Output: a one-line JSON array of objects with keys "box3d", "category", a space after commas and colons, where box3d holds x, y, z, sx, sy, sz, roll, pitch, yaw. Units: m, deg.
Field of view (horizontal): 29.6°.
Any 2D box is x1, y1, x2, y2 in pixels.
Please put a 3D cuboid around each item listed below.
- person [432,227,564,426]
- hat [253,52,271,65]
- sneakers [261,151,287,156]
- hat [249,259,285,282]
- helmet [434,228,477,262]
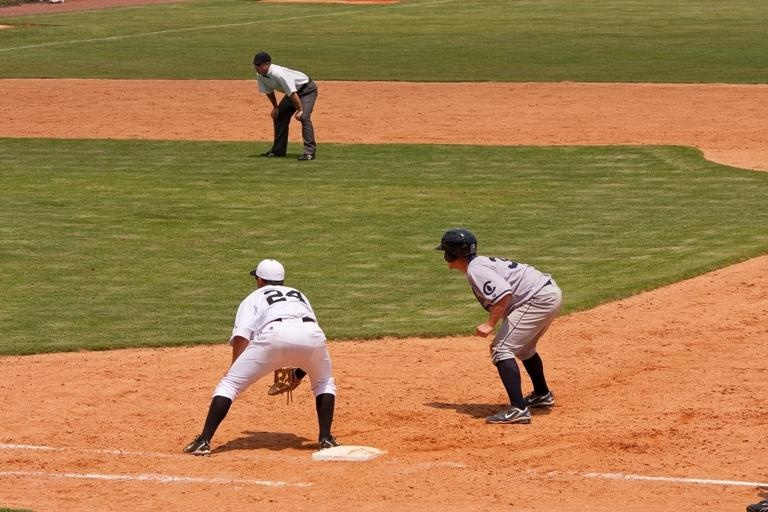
[{"box3d": [2.040, 1.180, 24.542, 1.823, 3.288, 1.080, 1, 17, 4], "category": "person"}, {"box3d": [-3.025, -4.847, 35.721, 0.375, 0.299, 0.469, -1, 12, -3], "category": "hat"}, {"box3d": [-2.893, -2.672, 37.979, 0.743, 0.174, 0.180, -3, 12, 6], "category": "sneakers"}, {"box3d": [-1.982, 0.228, 24.015, 0.438, 0.198, 0.583, -7, 14, -43], "category": "hat"}, {"box3d": [1.210, -0.198, 24.537, 0.765, 0.342, 0.482, 2, 10, 24], "category": "helmet"}]
